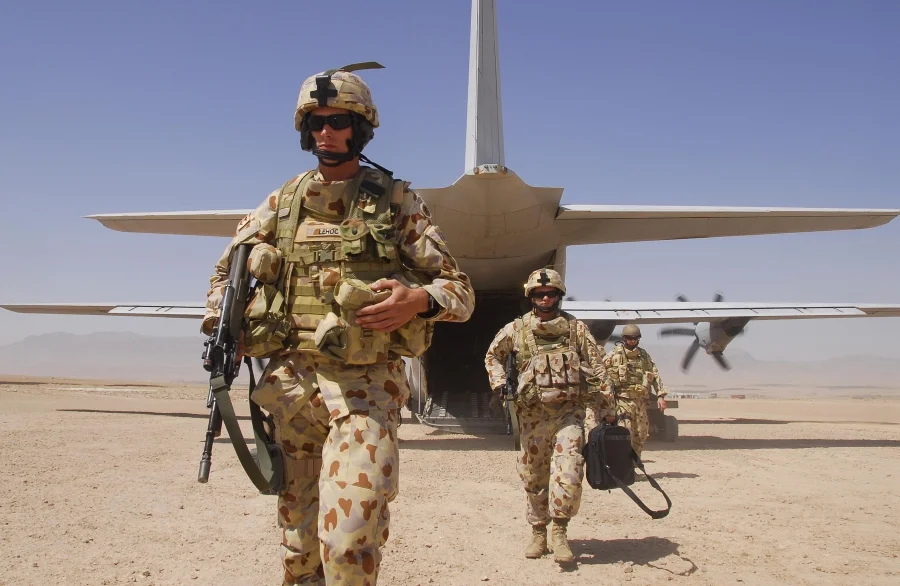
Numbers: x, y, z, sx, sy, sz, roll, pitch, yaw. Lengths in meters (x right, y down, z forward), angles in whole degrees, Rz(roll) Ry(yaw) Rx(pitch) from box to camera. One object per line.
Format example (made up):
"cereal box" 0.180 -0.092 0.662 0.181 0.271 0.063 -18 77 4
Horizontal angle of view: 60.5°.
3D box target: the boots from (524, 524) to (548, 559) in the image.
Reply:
"boots" 1.070 3.001 9.351 0.296 0.367 0.299 1 1 -2

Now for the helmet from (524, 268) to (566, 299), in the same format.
"helmet" 1.273 -0.151 10.260 0.443 0.343 0.490 -1 -23 6

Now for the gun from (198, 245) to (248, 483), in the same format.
"gun" -2.029 0.598 6.976 0.398 2.080 0.674 1 1 -15

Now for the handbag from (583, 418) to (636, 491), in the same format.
"handbag" 2.016 2.045 9.625 0.604 0.771 0.246 2 1 15

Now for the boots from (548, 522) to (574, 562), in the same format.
"boots" 1.354 2.938 9.126 0.285 0.443 0.372 1 1 9
